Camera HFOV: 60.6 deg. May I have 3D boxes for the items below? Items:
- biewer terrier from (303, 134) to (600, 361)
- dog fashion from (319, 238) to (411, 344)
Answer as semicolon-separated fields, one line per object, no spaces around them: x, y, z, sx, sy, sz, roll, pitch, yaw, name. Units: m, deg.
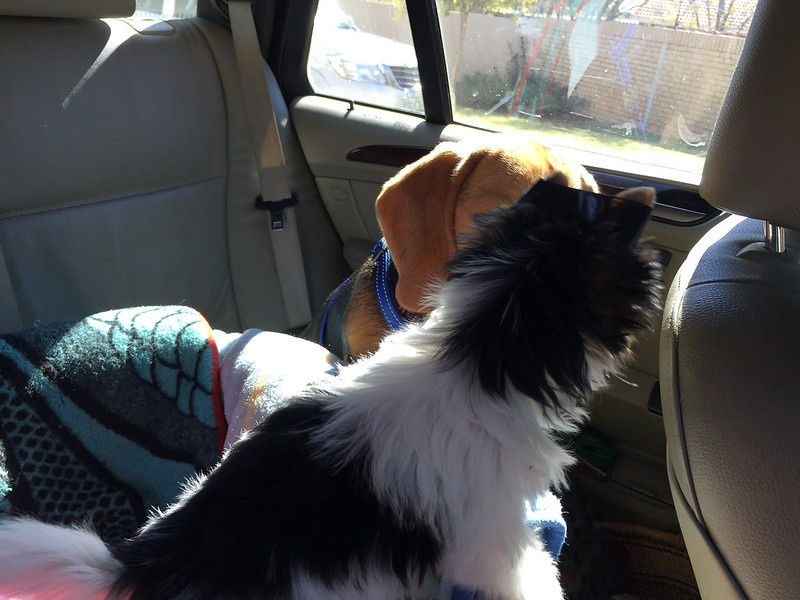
0.010;-0.048;1.266;0.296;0.405;0.709;-4;7;-36;biewer terrier
-0.080;0.021;1.224;0.157;0.145;0.264;-9;-1;2;dog fashion
